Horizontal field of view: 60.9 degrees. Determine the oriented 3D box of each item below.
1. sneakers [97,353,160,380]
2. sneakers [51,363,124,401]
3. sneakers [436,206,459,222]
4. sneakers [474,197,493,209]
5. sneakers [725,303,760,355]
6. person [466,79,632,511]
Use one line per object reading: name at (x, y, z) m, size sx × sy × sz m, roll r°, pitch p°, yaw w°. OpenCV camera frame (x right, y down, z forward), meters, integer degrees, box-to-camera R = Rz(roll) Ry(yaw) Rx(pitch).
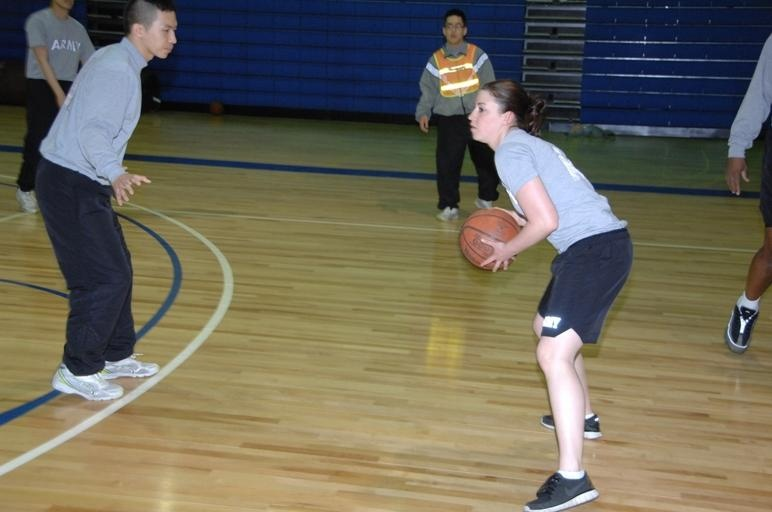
sneakers at (-1.409, 0.609, 3.672) m, size 0.337 × 0.146 × 0.113 m, roll -2°, pitch 10°, yaw -9°
sneakers at (-1.541, 0.670, 3.486) m, size 0.409 × 0.179 × 0.156 m, roll 11°, pitch 10°, yaw -7°
sneakers at (0.577, -0.398, 6.129) m, size 0.184 × 0.168 × 0.115 m, roll 7°, pitch 8°, yaw 6°
sneakers at (0.968, -0.542, 6.540) m, size 0.189 × 0.118 × 0.123 m, roll 13°, pitch 27°, yaw 34°
sneakers at (2.174, 0.443, 4.022) m, size 0.128 × 0.137 × 0.361 m, roll 7°, pitch 39°, yaw 19°
person at (0.753, 0.142, 2.968) m, size 0.699 × 1.667 × 1.130 m, roll -1°, pitch 28°, yaw -1°
